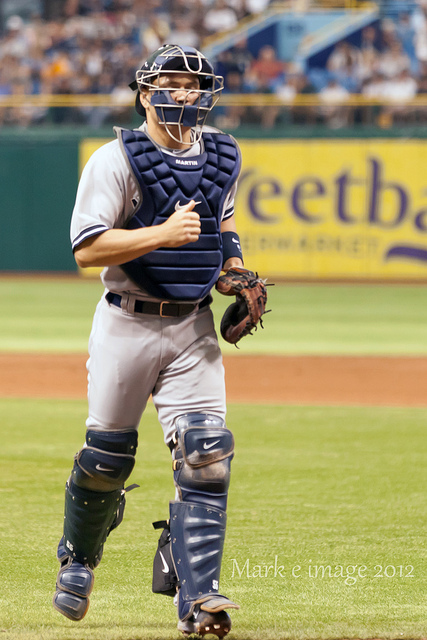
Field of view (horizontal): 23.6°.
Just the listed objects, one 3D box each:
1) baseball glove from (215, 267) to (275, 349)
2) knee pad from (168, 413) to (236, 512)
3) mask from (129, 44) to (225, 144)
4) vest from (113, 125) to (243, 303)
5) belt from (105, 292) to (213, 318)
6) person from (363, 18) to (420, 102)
[{"bbox_3d":[0.097,-0.036,3.654,0.097,0.252,0.214,-8,25,-37],"label":"baseball glove"},{"bbox_3d":[-0.028,0.502,3.386,0.220,0.354,0.160,-4,-12,-31],"label":"knee pad"},{"bbox_3d":[-0.127,-0.782,3.557,0.325,0.307,0.344,1,16,-19],"label":"mask"},{"bbox_3d":[-0.113,-0.357,3.534,0.238,0.588,0.530,5,10,34],"label":"vest"},{"bbox_3d":[-0.184,-0.052,3.513,0.375,0.078,0.209,-1,7,-7],"label":"belt"},{"bbox_3d":[1.302,-1.881,7.547,0.392,0.512,0.790,1,8,8],"label":"person"}]
